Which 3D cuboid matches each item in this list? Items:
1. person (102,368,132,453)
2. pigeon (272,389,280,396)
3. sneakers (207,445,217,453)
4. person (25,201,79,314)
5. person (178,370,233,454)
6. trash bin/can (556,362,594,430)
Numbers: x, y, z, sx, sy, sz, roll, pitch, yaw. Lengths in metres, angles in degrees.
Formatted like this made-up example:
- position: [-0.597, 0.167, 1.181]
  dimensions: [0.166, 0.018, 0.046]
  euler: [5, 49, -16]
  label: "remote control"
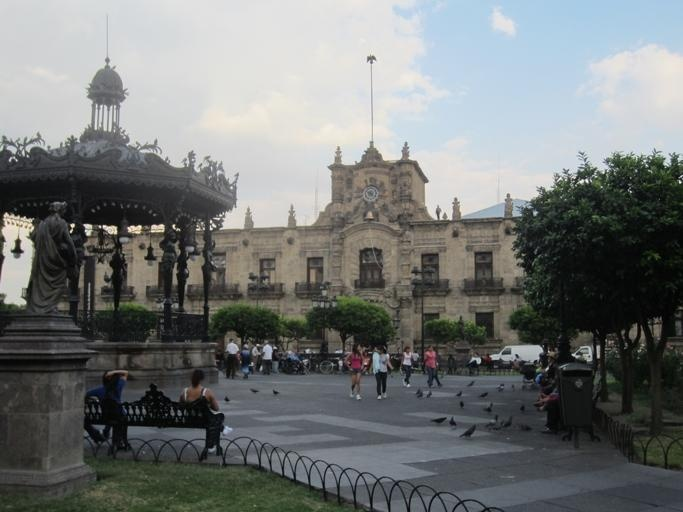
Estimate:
- position: [-4.320, 3.022, 19.754]
  dimensions: [0.611, 1.493, 0.567]
  euler: [-2, 2, 41]
  label: "person"
- position: [-1.940, 4.012, 29.697]
  dimensions: [0.138, 0.179, 0.261]
  euler: [-7, 8, 11]
  label: "pigeon"
- position: [-2.475, 3.709, 19.398]
  dimensions: [0.137, 0.134, 0.153]
  euler: [1, -20, 1]
  label: "sneakers"
- position: [-5.146, -0.006, 18.060]
  dimensions: [0.826, 2.084, 0.998]
  euler: [3, -6, -17]
  label: "person"
- position: [-2.727, 3.031, 19.757]
  dimensions: [0.779, 1.735, 1.015]
  euler: [-2, 2, 0]
  label: "person"
- position: [4.899, 2.917, 21.192]
  dimensions: [0.692, 1.366, 0.695]
  euler: [0, -6, 11]
  label: "trash bin/can"
